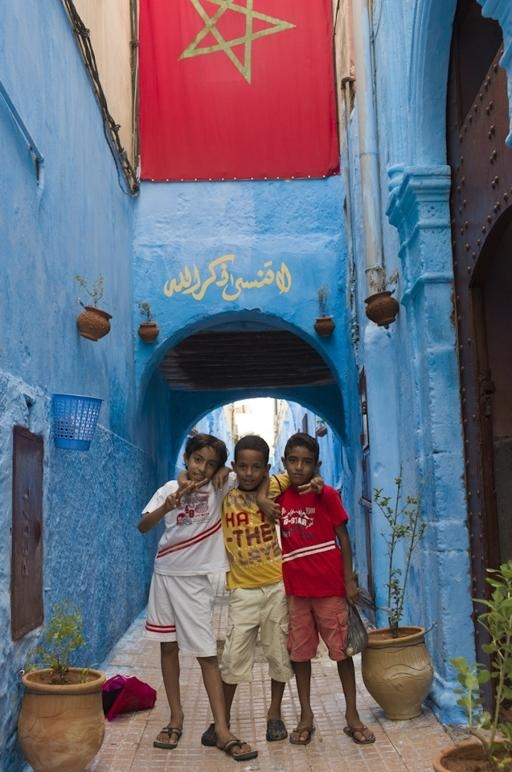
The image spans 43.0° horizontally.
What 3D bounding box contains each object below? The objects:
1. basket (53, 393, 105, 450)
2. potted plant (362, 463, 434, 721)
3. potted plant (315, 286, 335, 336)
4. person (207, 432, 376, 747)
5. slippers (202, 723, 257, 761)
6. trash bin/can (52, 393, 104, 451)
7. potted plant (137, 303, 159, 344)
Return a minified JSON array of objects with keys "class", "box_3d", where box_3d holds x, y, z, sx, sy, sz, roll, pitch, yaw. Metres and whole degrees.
[{"class":"basket","box_3d":[-0.919,0.170,3.181,0.226,0.262,0.230,10,-6,-39]},{"class":"potted plant","box_3d":[0.639,0.986,2.986,0.246,0.979,0.272,-4,-3,16]},{"class":"potted plant","box_3d":[0.717,-0.788,6.873,0.216,0.509,0.245,-2,-7,6]},{"class":"person","box_3d":[0.096,0.863,2.819,0.677,1.300,0.430,-1,-7,-6]},{"class":"slippers","box_3d":[-0.125,1.447,2.668,0.093,0.082,0.331,-3,0,-26]},{"class":"trash bin/can","box_3d":[-0.895,0.179,3.207,0.220,0.265,0.241,8,-6,-15]},{"class":"potted plant","box_3d":[-1.127,-0.680,6.779,0.201,0.442,0.253,0,-7,-10]}]
